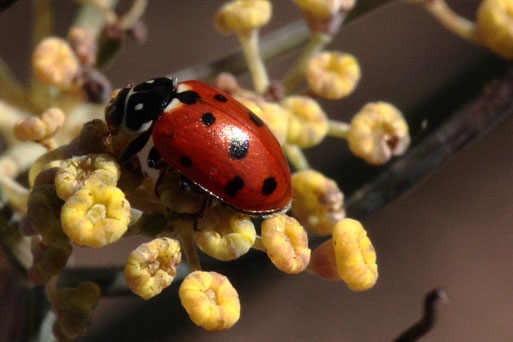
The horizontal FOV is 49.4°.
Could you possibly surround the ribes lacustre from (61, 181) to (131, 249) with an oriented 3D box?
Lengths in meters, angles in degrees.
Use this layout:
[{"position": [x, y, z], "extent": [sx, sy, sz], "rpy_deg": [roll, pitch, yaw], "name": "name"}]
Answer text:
[{"position": [-0.220, 0.057, 0.770], "extent": [0.098, 0.044, 0.103], "rpy_deg": [12, 44, 10], "name": "ribes lacustre"}]
